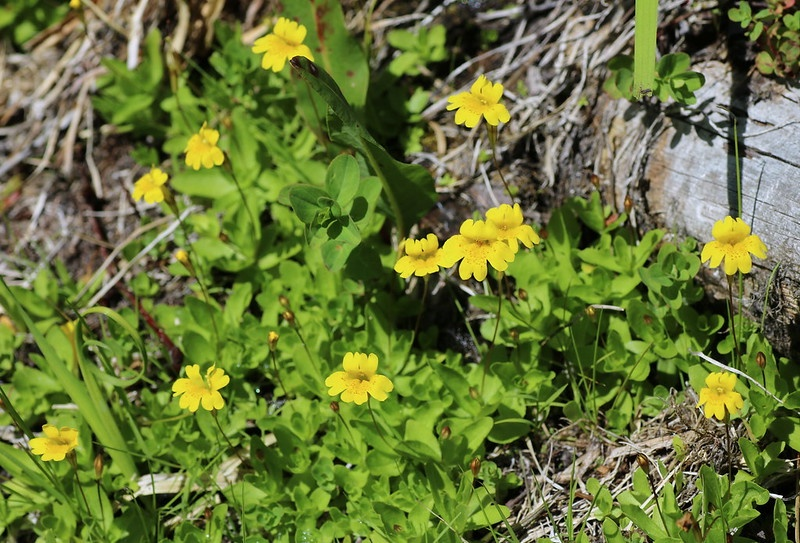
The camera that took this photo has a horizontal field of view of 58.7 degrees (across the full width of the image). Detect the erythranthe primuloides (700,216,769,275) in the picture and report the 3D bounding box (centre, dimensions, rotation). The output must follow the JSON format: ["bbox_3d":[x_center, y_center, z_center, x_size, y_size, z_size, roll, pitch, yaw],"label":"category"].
[{"bbox_3d":[1.407,-0.090,3.039,0.284,0.095,0.242,27,-37,-34],"label":"erythranthe primuloides"}]

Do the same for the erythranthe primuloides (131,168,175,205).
[{"bbox_3d":[-1.226,-0.428,3.519,0.138,0.158,0.260,-15,25,-38],"label":"erythranthe primuloides"}]

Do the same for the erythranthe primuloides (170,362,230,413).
[{"bbox_3d":[-0.887,0.534,3.202,0.233,0.281,0.070,-20,-18,-3],"label":"erythranthe primuloides"}]

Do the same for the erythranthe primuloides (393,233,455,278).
[{"bbox_3d":[0.138,-0.101,3.273,0.159,0.086,0.213,-13,-27,14],"label":"erythranthe primuloides"}]

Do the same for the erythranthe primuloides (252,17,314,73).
[{"bbox_3d":[-0.559,-1.085,3.341,0.276,0.335,0.096,17,-30,19],"label":"erythranthe primuloides"}]

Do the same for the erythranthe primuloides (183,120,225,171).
[{"bbox_3d":[-0.968,-0.626,3.538,0.199,0.240,0.176,1,18,1],"label":"erythranthe primuloides"}]

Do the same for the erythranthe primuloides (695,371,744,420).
[{"bbox_3d":[1.369,0.526,3.059,0.233,0.060,0.224,-34,25,-22],"label":"erythranthe primuloides"}]

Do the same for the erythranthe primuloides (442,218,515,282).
[{"bbox_3d":[0.340,-0.105,3.156,0.317,0.235,0.192,2,18,4],"label":"erythranthe primuloides"}]
